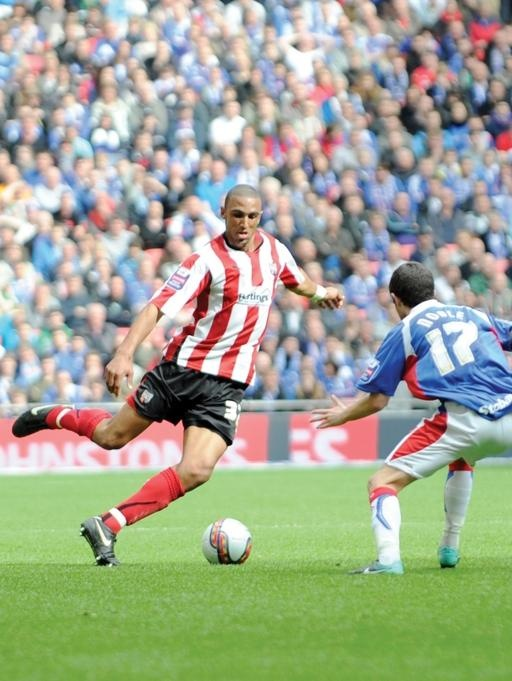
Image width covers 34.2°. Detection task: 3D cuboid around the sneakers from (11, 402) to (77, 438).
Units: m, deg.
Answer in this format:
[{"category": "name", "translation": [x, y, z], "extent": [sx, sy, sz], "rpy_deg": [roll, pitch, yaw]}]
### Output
[{"category": "sneakers", "translation": [-1.125, 0.414, 4.390], "extent": [0.442, 0.135, 0.188], "rpy_deg": [-14, 3, 25]}]

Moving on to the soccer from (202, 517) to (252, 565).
[{"category": "soccer", "translation": [-0.132, 0.935, 3.808], "extent": [0.281, 0.228, 0.257], "rpy_deg": [-5, -26, 12]}]

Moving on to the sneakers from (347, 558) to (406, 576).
[{"category": "sneakers", "translation": [0.474, 0.877, 3.227], "extent": [0.216, 0.065, 0.072], "rpy_deg": [0, -10, 14]}]
